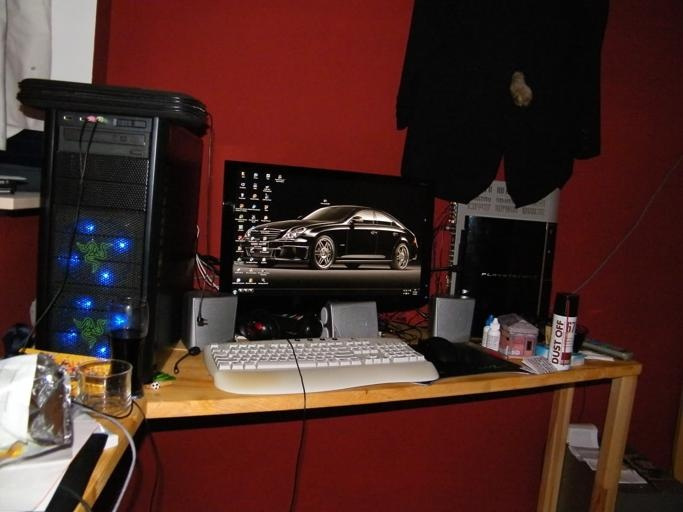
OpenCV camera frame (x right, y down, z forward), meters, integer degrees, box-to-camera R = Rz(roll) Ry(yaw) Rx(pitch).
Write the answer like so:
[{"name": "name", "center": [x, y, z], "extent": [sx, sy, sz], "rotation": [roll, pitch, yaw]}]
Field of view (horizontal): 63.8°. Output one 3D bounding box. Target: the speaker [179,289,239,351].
[{"name": "speaker", "center": [-0.413, 0.182, 1.815], "extent": [0.153, 0.221, 0.210], "rotation": [2, -3, 36]}]

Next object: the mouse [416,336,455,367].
[{"name": "mouse", "center": [0.323, 0.310, 1.845], "extent": [0.067, 0.043, 0.121], "rotation": [1, 13, -21]}]

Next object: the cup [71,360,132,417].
[{"name": "cup", "center": [-0.627, 0.335, 1.440], "extent": [0.142, 0.119, 0.113], "rotation": [1, 4, -20]}]

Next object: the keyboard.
[{"name": "keyboard", "center": [-0.063, 0.328, 1.673], "extent": [0.697, 0.124, 0.221], "rotation": [3, 2, -16]}]
